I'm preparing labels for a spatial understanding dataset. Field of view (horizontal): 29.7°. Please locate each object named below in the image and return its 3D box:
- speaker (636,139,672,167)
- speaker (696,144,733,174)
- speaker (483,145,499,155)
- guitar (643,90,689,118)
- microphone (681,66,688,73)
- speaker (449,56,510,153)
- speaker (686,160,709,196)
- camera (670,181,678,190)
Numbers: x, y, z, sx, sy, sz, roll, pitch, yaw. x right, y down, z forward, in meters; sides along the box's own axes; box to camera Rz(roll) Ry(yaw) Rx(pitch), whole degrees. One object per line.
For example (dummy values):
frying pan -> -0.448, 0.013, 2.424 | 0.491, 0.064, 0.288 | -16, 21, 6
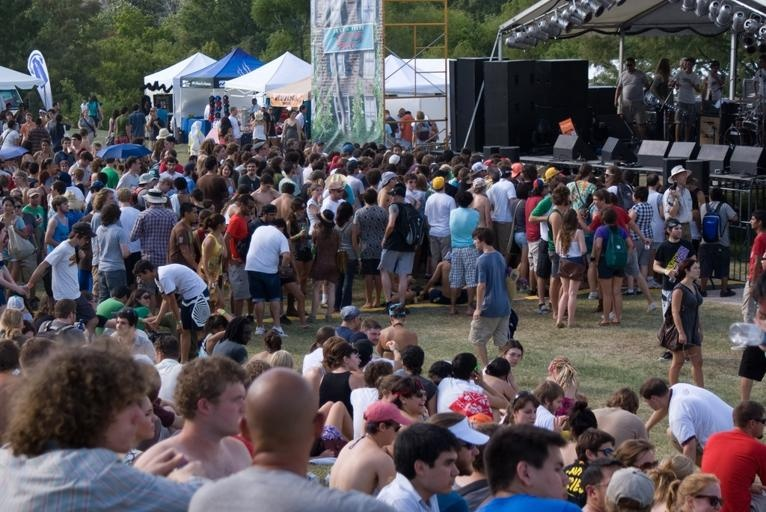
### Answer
speaker -> 6.956, -2.621, 36.597 | 0.782, 0.871, 0.582 | 9, 13, 42
speaker -> 8.351, -2.379, 35.862 | 0.693, 0.874, 0.739 | 11, 21, 34
speaker -> 2.935, -2.832, 38.543 | 0.413, 0.345, 0.270 | 0, 4, 5
guitar -> 7.745, -4.202, 39.879 | 1.044, 0.940, 0.625 | 9, 14, 27
microphone -> 8.157, -4.989, 38.656 | 0.204, 0.123, 0.094 | 4, 4, 36
speaker -> 2.552, -4.269, 40.364 | 1.275, 2.960, 1.316 | 3, -21, -3
speaker -> 7.505, -1.881, 33.919 | 0.591, 1.379, 0.621 | 0, 0, 12
camera -> 6.638, -1.593, 32.603 | 0.108, 0.190, 0.159 | 5, 8, 4
